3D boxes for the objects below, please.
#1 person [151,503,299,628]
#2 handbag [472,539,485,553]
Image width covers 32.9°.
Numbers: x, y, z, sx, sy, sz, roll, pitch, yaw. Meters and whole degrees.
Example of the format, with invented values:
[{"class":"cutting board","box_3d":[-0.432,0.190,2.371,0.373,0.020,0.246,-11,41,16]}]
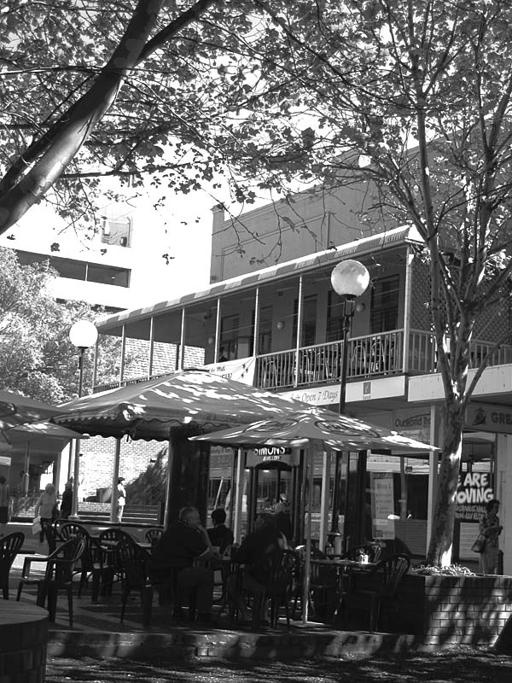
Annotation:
[{"class":"person","box_3d":[-0.317,2.270,8.911,1.374,0.930,1.233,1,-4,-8]},{"class":"handbag","box_3d":[3.520,3.262,13.756,0.136,0.223,0.349,2,-9,7]}]
